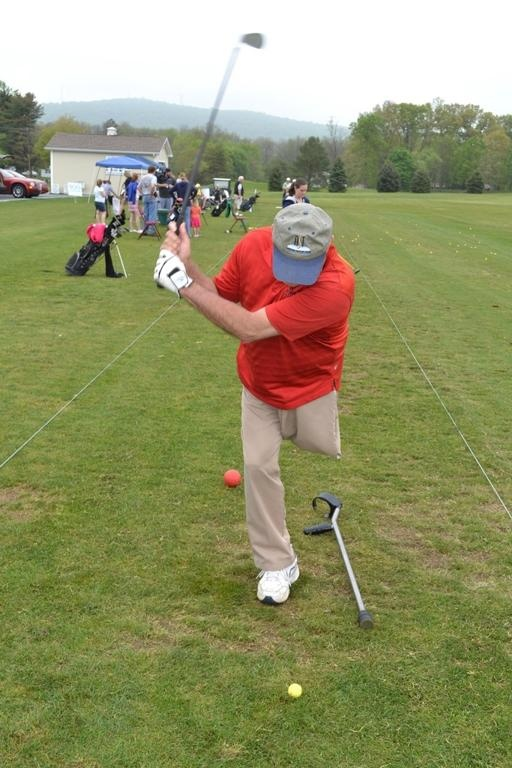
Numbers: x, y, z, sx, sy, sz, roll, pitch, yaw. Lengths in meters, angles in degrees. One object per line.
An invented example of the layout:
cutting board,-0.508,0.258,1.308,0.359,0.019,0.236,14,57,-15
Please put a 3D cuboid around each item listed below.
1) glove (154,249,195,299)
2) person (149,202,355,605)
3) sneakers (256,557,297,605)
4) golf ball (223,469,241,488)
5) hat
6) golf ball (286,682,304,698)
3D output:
glove,-0.372,-0.486,3.154,0.205,0.169,0.094,41,21,22
person,-0.015,0.113,3.304,0.810,1.858,0.580,6,18,8
sneakers,0.096,0.962,3.451,0.120,0.105,0.253,0,0,13
golf ball,-0.156,0.617,4.770,0.111,0.120,0.102,4,37,-3
hat,0.175,-0.576,2.882,0.231,0.325,0.132,5,-21,3
golf ball,0.147,1.180,2.769,0.059,0.047,0.070,4,16,2
